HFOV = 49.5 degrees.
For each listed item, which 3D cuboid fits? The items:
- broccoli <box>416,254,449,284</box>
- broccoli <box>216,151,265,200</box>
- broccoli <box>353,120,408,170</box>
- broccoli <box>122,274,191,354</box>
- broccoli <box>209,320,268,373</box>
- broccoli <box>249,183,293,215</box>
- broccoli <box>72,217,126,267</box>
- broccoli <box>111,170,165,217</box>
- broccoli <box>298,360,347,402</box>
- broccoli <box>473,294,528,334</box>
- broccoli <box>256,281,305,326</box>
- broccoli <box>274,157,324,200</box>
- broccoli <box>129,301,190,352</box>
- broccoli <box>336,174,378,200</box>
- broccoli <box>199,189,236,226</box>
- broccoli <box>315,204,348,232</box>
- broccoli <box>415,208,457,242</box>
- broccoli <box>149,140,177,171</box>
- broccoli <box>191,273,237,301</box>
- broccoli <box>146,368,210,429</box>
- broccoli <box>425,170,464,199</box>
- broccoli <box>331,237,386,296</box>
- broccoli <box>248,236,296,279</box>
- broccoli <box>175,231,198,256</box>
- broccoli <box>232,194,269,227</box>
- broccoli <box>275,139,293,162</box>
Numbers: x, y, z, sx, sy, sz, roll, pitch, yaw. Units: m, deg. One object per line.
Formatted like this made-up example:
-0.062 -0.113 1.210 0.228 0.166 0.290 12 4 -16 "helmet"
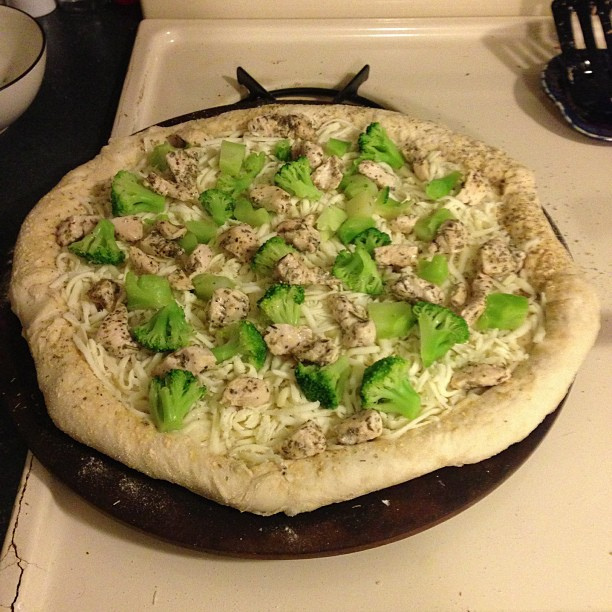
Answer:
0.585 -0.172 3.058 0.138 0.057 0.141 3 78 3 "broccoli"
-0.323 -0.683 3.425 0.091 0.305 0.221 -21 94 7 "broccoli"
0.379 -0.829 3.504 0.354 0.111 0.255 14 65 -3 "broccoli"
-0.663 0.033 2.913 0.289 0.111 0.382 -13 53 -14 "broccoli"
-0.283 0.164 2.855 0.241 0.110 0.212 15 80 5 "broccoli"
-0.179 -0.533 3.256 0.241 0.076 0.107 14 83 18 "broccoli"
-0.981 -0.303 3.183 0.310 0.104 0.234 8 51 4 "broccoli"
-0.860 -0.550 3.255 0.321 0.118 0.196 5 64 -18 "broccoli"
0.088 0.318 2.765 0.237 0.148 0.150 -18 79 -1 "broccoli"
0.861 0.053 2.911 0.251 0.048 0.142 -18 35 34 "broccoli"
-0.090 0.002 2.944 0.153 0.154 0.126 -16 86 37 "broccoli"
-0.041 -0.624 3.276 0.209 0.091 0.226 -25 54 -21 "broccoli"
-0.616 0.093 2.877 0.250 0.090 0.197 14 72 3 "broccoli"
0.254 -0.591 3.322 0.196 0.044 0.146 3 36 -3 "broccoli"
-0.439 -0.478 3.248 0.239 0.059 0.183 -1 99 -7 "broccoli"
0.124 -0.428 3.232 0.133 0.043 0.143 29 67 13 "broccoli"
0.633 -0.413 3.216 0.174 0.068 0.184 29 77 29 "broccoli"
-0.769 -0.805 3.547 0.163 0.054 0.137 6 79 6 "broccoli"
-0.450 -0.093 3.046 0.198 0.084 0.131 27 81 7 "broccoli"
-0.547 0.402 2.775 0.287 0.309 0.209 19 70 -34 "broccoli"
0.689 -0.595 3.333 0.207 0.047 0.120 -39 70 -20 "broccoli"
0.242 -0.161 3.134 0.342 0.087 0.253 -13 65 -5 "broccoli"
-0.160 -0.221 3.060 0.167 0.152 0.131 -37 81 -32 "broccoli"
-0.573 -0.301 3.187 0.129 0.030 0.101 -1 79 14 "broccoli"
-0.276 -0.469 3.268 0.173 0.045 0.151 -24 51 -15 "broccoli"
-0.120 -0.816 3.484 0.148 0.037 0.098 1 93 -2 "broccoli"
